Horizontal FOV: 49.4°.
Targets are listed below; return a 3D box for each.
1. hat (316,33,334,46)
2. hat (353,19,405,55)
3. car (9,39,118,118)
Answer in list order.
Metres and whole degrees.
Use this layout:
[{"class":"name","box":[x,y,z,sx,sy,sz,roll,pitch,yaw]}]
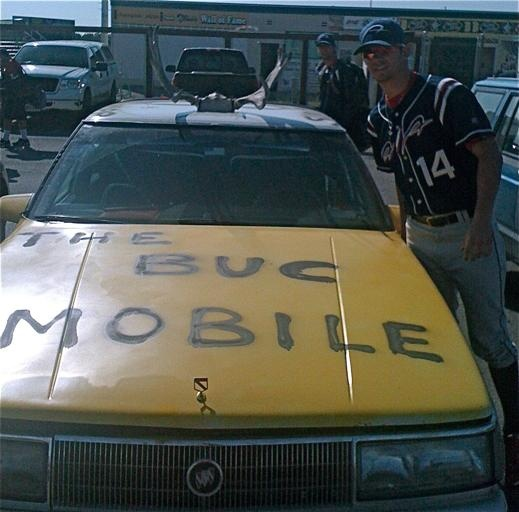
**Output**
[{"class":"hat","box":[0.778,-2.514,6.591,0.161,0.135,0.257,0,1,12]},{"class":"hat","box":[0.565,-0.985,2.573,0.214,0.112,0.154,-17,24,-35]},{"class":"car","box":[-4.711,-4.381,14.098,1.868,1.304,3.108,0,15,-2]}]
